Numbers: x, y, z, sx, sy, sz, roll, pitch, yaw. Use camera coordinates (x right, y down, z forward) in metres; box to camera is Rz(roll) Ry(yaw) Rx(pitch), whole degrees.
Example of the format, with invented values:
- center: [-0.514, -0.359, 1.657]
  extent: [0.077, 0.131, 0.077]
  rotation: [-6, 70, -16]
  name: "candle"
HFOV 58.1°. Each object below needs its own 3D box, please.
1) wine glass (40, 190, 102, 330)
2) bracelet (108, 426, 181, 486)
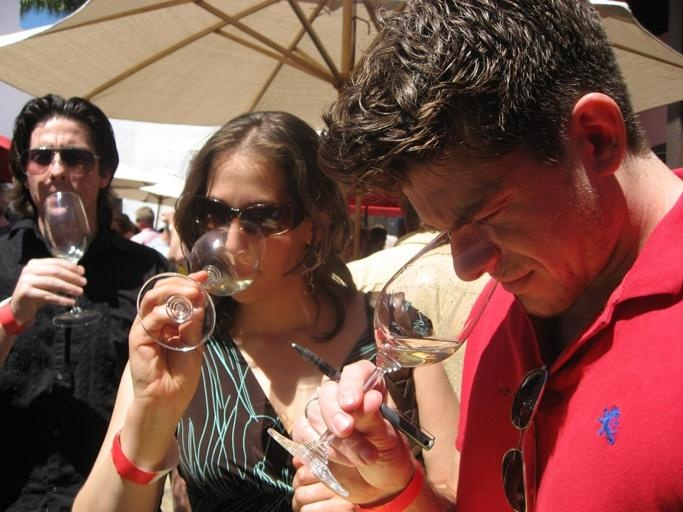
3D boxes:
- center: [-1.465, 0.043, 3.409]
  extent: [0.262, 0.848, 0.270]
  rotation: [8, 11, 42]
  name: "wine glass"
- center: [-0.818, 0.840, 2.443]
  extent: [0.209, 0.212, 0.078]
  rotation: [-10, -28, -48]
  name: "bracelet"
